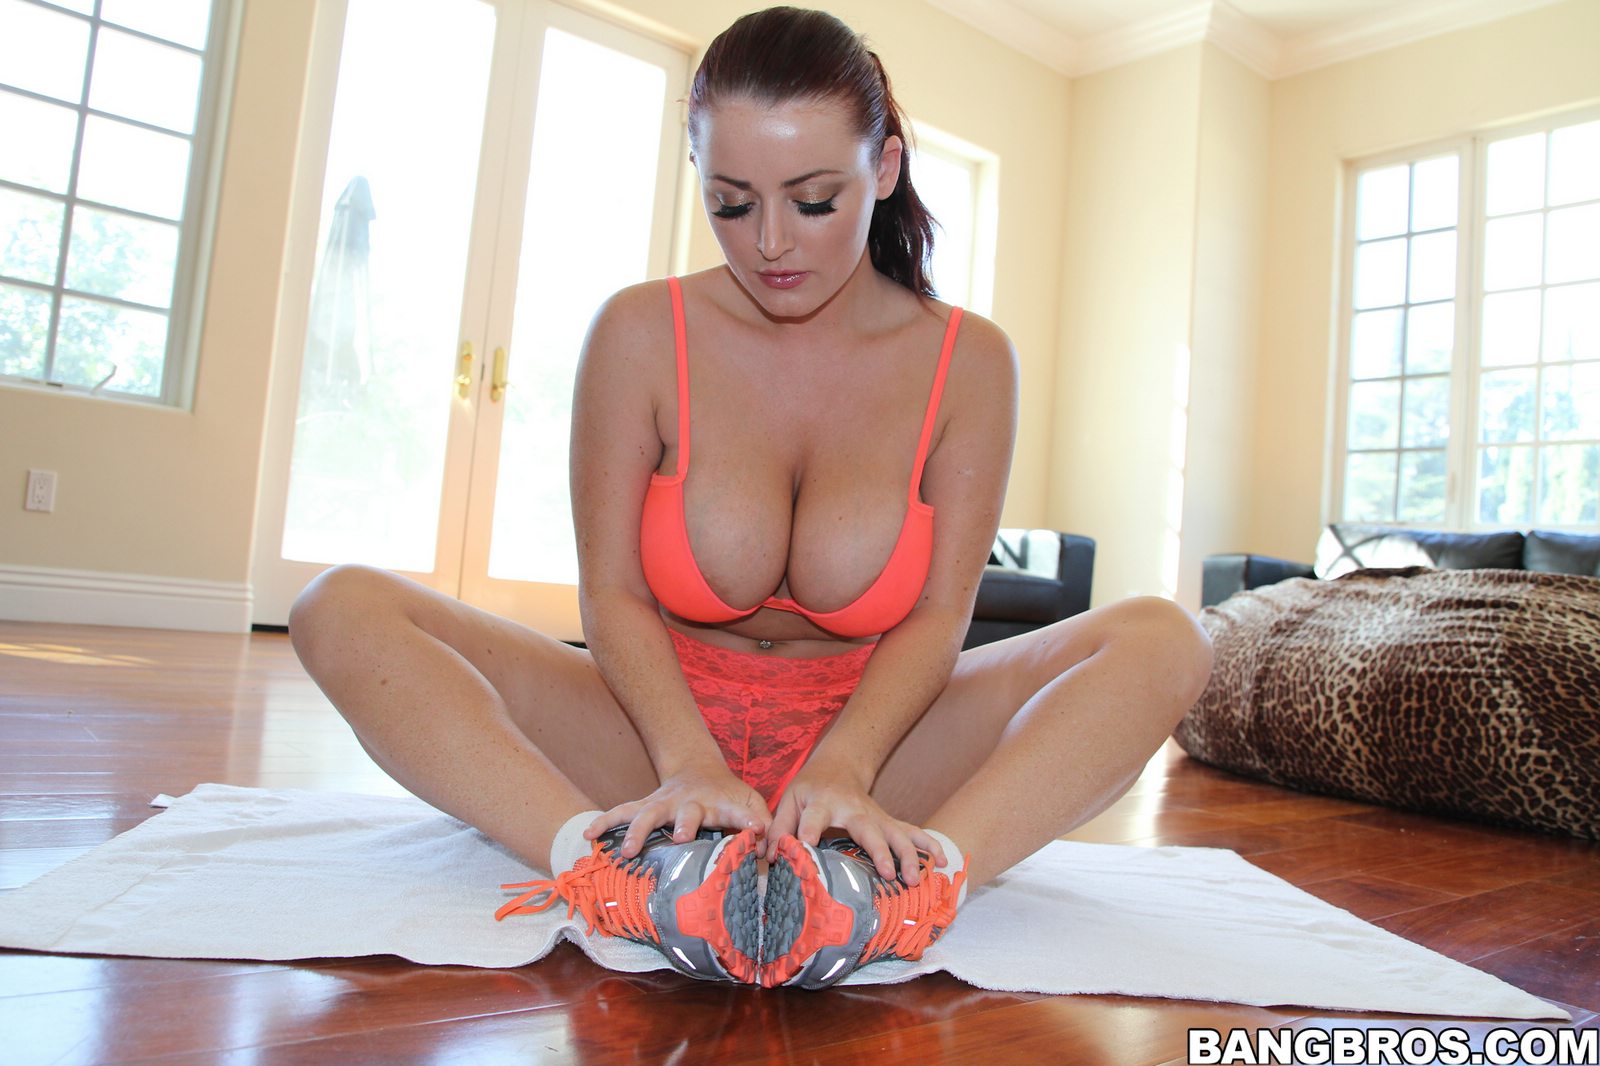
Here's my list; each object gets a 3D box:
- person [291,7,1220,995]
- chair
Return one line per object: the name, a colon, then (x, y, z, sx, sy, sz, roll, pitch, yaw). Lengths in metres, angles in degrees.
person: (-0.034, -0.153, 1.519, 1.228, 1.228, 0.575, 3, 3, -18)
chair: (1.159, 0.213, 5.255, 0.336, 0.266, 0.358, 19, -22, 6)
